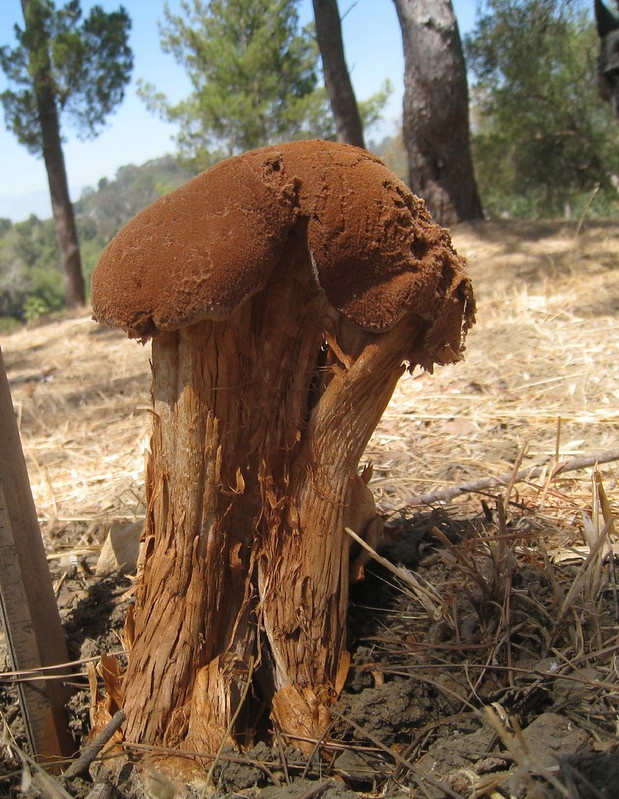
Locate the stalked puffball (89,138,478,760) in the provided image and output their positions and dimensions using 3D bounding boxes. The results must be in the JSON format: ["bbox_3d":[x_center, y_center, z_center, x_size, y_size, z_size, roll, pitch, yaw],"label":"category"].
[{"bbox_3d":[-0.090,0.125,2.288,1.139,1.585,0.355,-13,8,-12],"label":"stalked puffball"}]
